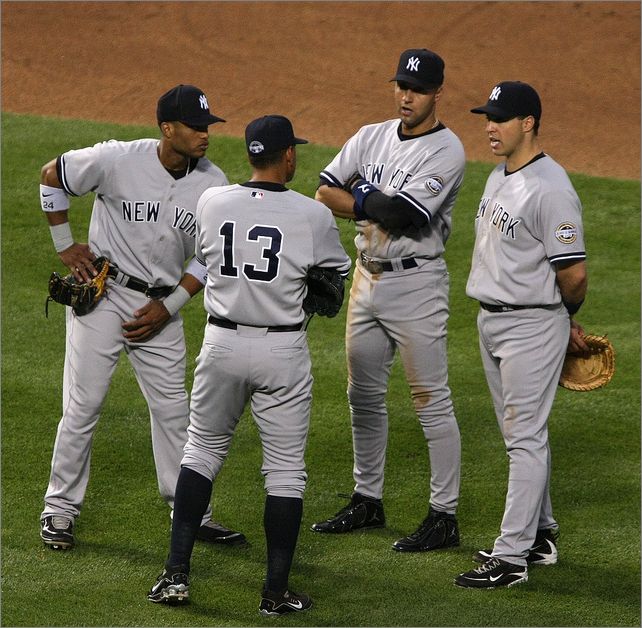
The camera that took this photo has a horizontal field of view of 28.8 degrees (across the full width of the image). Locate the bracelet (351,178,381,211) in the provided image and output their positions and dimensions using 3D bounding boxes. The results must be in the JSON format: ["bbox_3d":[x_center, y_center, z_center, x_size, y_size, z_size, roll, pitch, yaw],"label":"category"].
[{"bbox_3d":[0.265,-0.719,7.302,0.149,0.118,0.179,-8,7,0],"label":"bracelet"}]

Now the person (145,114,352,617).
[{"bbox_3d":[-0.329,0.235,6.532,0.837,2.534,0.820,6,11,-1],"label":"person"}]

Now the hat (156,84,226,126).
[{"bbox_3d":[-0.712,-1.190,7.046,0.366,0.193,0.227,2,13,13],"label":"hat"}]

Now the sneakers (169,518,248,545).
[{"bbox_3d":[-0.644,1.265,7.277,0.369,0.143,0.118,2,4,3],"label":"sneakers"}]

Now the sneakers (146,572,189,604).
[{"bbox_3d":[-0.776,1.405,6.378,0.119,0.125,0.244,5,-12,-18],"label":"sneakers"}]

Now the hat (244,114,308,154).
[{"bbox_3d":[-0.235,-0.967,6.582,0.274,0.140,0.178,-24,25,-38],"label":"hat"}]

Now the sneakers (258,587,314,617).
[{"bbox_3d":[-0.194,1.484,6.470,0.295,0.114,0.107,-6,9,-27],"label":"sneakers"}]

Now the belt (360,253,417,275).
[{"bbox_3d":[0.379,-0.302,7.394,0.372,0.132,0.086,10,12,25],"label":"belt"}]

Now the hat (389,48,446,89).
[{"bbox_3d":[0.571,-1.457,7.308,0.288,0.228,0.253,6,11,1],"label":"hat"}]

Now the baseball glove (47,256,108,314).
[{"bbox_3d":[-1.357,-0.217,7.204,0.293,0.167,0.388,33,51,23],"label":"baseball glove"}]

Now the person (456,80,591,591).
[{"bbox_3d":[1.144,0.085,6.931,0.673,2.717,0.902,5,11,-7],"label":"person"}]

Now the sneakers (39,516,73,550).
[{"bbox_3d":[-1.483,1.228,7.018,0.186,0.150,0.168,4,11,-11],"label":"sneakers"}]

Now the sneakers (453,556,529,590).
[{"bbox_3d":[0.936,1.426,6.844,0.428,0.166,0.147,0,-4,-5],"label":"sneakers"}]

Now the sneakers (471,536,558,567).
[{"bbox_3d":[1.060,1.331,7.041,0.570,0.232,0.175,1,-3,-14],"label":"sneakers"}]

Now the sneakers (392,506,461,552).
[{"bbox_3d":[0.619,1.269,7.271,0.390,0.219,0.195,-2,13,-34],"label":"sneakers"}]

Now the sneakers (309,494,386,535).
[{"bbox_3d":[0.194,1.216,7.622,0.543,0.233,0.169,-2,3,-24],"label":"sneakers"}]
